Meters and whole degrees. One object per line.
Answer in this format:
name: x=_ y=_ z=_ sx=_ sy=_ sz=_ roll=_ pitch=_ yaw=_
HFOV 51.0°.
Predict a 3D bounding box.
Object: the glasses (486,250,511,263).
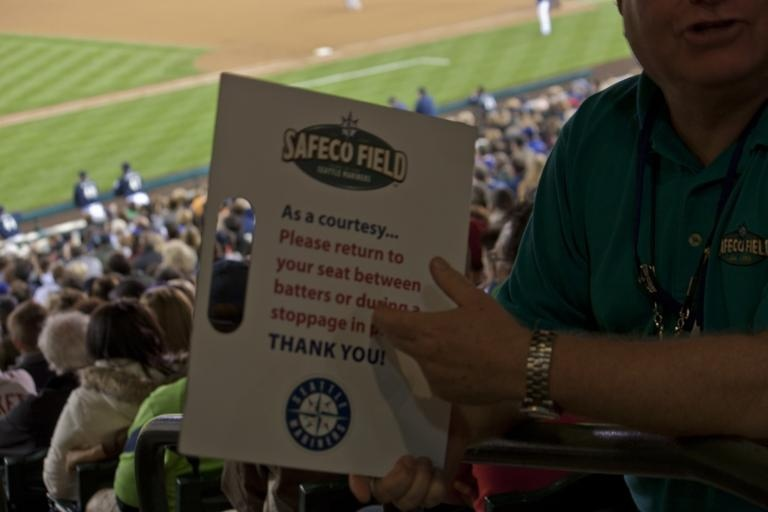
glasses: x=0.386 y=0.000 z=2.659 sx=0.055 sy=0.042 sz=0.022 roll=-11 pitch=45 yaw=48
